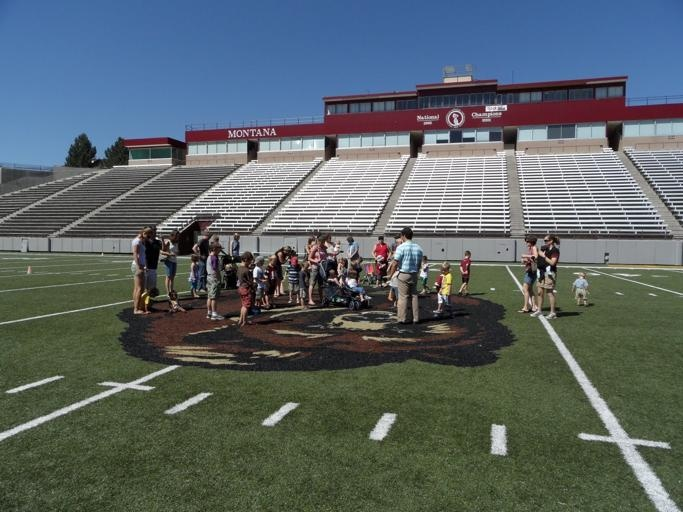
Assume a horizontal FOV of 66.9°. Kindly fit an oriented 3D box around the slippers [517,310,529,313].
[{"bbox_3d":[4.250,1.302,12.137,0.251,0.077,0.093,-1,8,6],"label":"slippers"}]

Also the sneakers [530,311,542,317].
[{"bbox_3d":[4.334,1.313,11.636,0.298,0.134,0.103,-1,0,-2],"label":"sneakers"}]

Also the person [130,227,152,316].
[{"bbox_3d":[-4.531,0.333,11.741,0.401,1.941,0.698,-3,8,-22],"label":"person"}]

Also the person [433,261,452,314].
[{"bbox_3d":[2.386,0.748,12.161,0.384,1.245,1.590,2,8,11],"label":"person"}]

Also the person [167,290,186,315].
[{"bbox_3d":[-4.082,1.163,12.831,0.419,0.765,0.317,-20,-13,32],"label":"person"}]

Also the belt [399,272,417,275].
[{"bbox_3d":[1.366,0.328,10.420,0.360,0.068,0.093,-2,8,-18],"label":"belt"}]

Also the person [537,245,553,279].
[{"bbox_3d":[4.388,0.152,11.190,0.288,0.748,0.533,1,7,3],"label":"person"}]

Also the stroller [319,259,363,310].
[{"bbox_3d":[0.172,0.804,13.148,1.155,1.304,0.915,0,0,27],"label":"stroller"}]

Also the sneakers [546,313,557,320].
[{"bbox_3d":[4.631,1.319,11.302,0.289,0.117,0.113,2,-1,-30],"label":"sneakers"}]

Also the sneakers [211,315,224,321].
[{"bbox_3d":[-2.647,1.321,11.092,0.273,0.130,0.102,1,3,-19],"label":"sneakers"}]
